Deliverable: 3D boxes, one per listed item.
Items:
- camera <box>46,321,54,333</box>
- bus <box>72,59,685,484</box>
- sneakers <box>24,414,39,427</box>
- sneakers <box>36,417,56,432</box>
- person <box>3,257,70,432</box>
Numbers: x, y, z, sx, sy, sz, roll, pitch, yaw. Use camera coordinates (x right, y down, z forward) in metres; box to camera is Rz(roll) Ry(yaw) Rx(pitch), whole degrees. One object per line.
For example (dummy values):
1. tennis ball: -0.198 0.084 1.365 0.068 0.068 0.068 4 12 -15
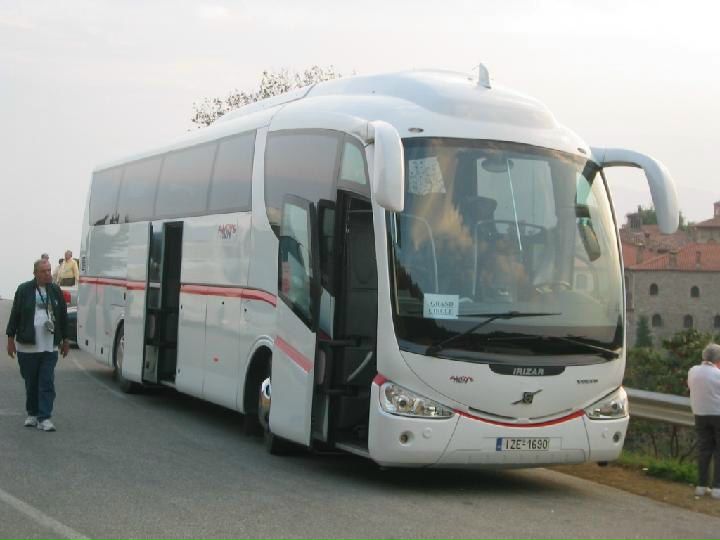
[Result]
1. camera: -4.764 0.857 10.527 0.124 0.185 0.059 3 -3 -29
2. bus: -1.294 -0.154 12.171 3.794 4.609 11.789 2 -1 -28
3. sneakers: -5.132 2.329 10.663 0.105 0.143 0.306 3 -9 -21
4. sneakers: -4.768 2.313 10.412 0.143 0.155 0.329 1 -1 -36
5. person: -4.951 1.102 10.535 0.871 2.573 0.918 3 -3 -29
